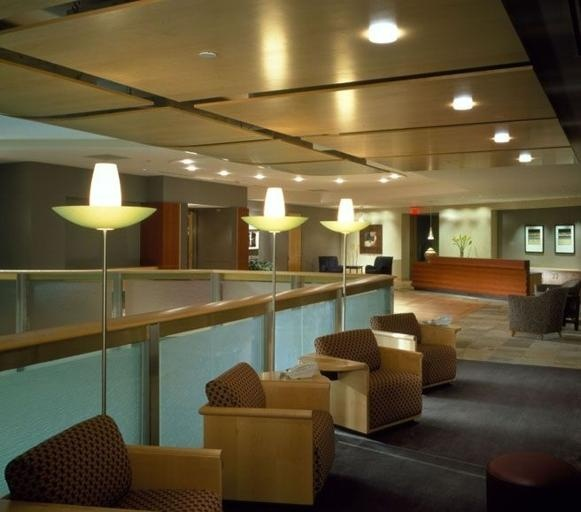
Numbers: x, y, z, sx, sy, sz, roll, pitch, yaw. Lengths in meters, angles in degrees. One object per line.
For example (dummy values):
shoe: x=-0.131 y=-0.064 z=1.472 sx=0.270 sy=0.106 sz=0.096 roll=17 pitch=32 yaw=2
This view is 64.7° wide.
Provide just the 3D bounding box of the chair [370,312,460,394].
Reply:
chair: x=1.482 y=1.161 z=6.168 sx=1.160 sy=1.047 sz=1.061 roll=0 pitch=-4 yaw=-44

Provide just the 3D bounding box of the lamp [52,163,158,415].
lamp: x=-1.248 y=0.145 z=3.106 sx=0.601 sy=1.642 sz=1.954 roll=1 pitch=2 yaw=-20

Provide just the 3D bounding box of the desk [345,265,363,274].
desk: x=2.929 y=0.626 z=21.060 sx=0.564 sy=0.486 sz=0.557 roll=-1 pitch=-3 yaw=31

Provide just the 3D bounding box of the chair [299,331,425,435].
chair: x=0.660 y=1.044 z=4.780 sx=0.977 sy=0.901 sz=1.425 roll=-3 pitch=-2 yaw=44

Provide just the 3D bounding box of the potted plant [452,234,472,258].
potted plant: x=6.957 y=-0.408 z=18.544 sx=0.989 sy=0.979 sz=0.888 roll=-1 pitch=-1 yaw=7

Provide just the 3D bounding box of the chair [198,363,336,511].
chair: x=-0.119 y=1.263 z=3.312 sx=0.838 sy=0.868 sz=0.799 roll=2 pitch=2 yaw=9

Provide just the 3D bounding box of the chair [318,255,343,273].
chair: x=1.653 y=0.473 z=19.565 sx=0.783 sy=0.777 sz=0.782 roll=3 pitch=-43 yaw=2

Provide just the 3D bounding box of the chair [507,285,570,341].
chair: x=4.913 y=1.141 z=9.173 sx=1.114 sy=1.088 sz=0.966 roll=-1 pitch=-4 yaw=34
